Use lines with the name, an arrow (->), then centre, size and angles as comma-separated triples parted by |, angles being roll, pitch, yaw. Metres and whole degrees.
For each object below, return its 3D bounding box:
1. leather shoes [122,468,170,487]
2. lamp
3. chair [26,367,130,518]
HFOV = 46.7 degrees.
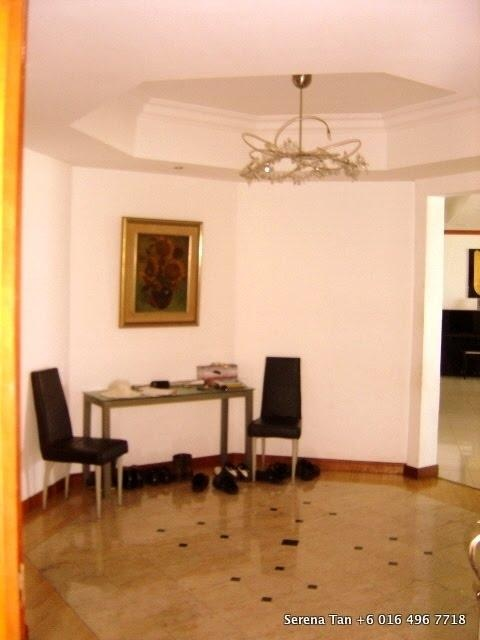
leather shoes -> -0.862, 1.462, 5.107 | 0.276, 0.119, 0.357 | 2, -9, -31
lamp -> 0.406, -1.320, 3.646 | 0.664, 0.604, 0.659 | 0, 2, -40
chair -> -1.297, 0.959, 4.460 | 0.659, 1.098, 0.413 | 1, 1, 11
